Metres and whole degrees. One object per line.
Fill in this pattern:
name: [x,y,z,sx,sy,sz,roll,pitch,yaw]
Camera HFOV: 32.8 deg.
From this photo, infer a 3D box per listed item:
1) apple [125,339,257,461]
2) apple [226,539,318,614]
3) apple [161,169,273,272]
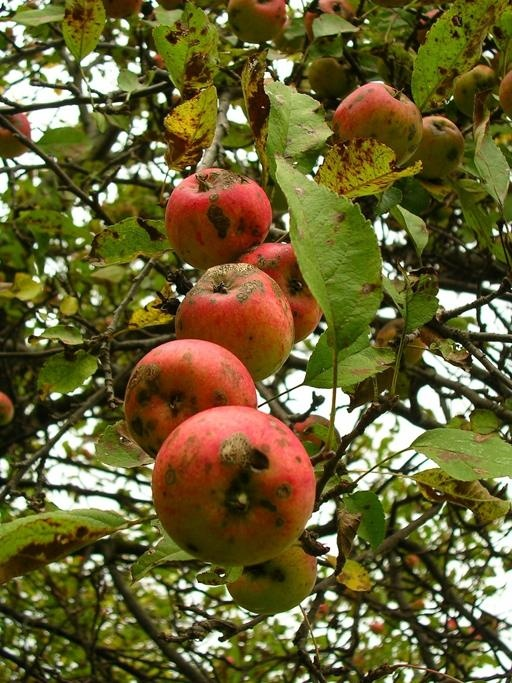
apple: [-0.130,0.096,1.684,0.245,0.200,0.231,-12,4,18]
apple: [0.037,0.498,1.804,0.159,0.134,0.138,13,-21,-6]
apple: [-0.083,-0.259,1.811,0.224,0.212,0.121,4,-1,3]
